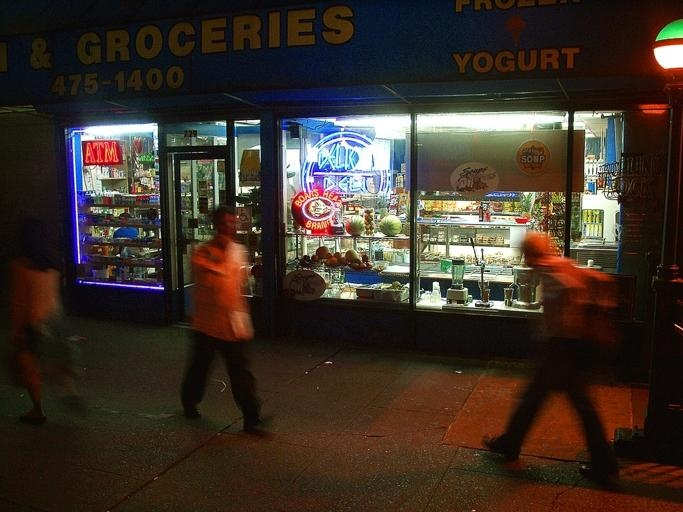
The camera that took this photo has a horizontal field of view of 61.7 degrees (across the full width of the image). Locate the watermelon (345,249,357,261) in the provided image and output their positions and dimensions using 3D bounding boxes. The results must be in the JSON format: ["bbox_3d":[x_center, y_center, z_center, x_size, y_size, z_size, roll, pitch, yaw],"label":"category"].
[{"bbox_3d":[0.167,-0.013,9.199,0.167,0.190,0.161,-18,-1,-16],"label":"watermelon"}]

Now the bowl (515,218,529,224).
[{"bbox_3d":[2.784,-0.542,8.797,0.030,0.106,0.281,-5,13,-21],"label":"bowl"}]

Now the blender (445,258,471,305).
[{"bbox_3d":[1.782,0.360,8.682,0.342,0.593,0.622,2,11,12],"label":"blender"}]

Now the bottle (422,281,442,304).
[{"bbox_3d":[1.396,0.583,8.740,0.378,0.372,0.209,2,0,17],"label":"bottle"}]

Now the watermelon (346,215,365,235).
[{"bbox_3d":[0.240,-0.467,9.119,0.246,0.311,0.237,-9,14,-36],"label":"watermelon"}]

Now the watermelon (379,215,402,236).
[{"bbox_3d":[0.767,-0.463,8.898,0.328,0.309,0.217,7,14,35],"label":"watermelon"}]

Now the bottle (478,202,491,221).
[{"bbox_3d":[2.320,-0.714,9.225,0.188,0.312,0.152,-1,11,1],"label":"bottle"}]

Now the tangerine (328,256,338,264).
[{"bbox_3d":[-0.127,0.068,9.194,0.120,0.134,0.118,-1,6,4],"label":"tangerine"}]

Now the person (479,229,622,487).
[{"bbox_3d":[2.117,0.906,5.471,1.111,2.184,0.650,5,12,26],"label":"person"}]

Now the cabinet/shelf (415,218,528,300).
[{"bbox_3d":[2.097,0.003,9.353,2.297,1.570,1.176,1,1,20],"label":"cabinet/shelf"}]

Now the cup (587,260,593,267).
[{"bbox_3d":[3.866,0.110,8.874,0.113,0.105,0.100,-2,6,0],"label":"cup"}]

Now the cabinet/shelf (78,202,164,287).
[{"bbox_3d":[-3.996,-0.385,10.854,0.490,1.612,1.746,-4,0,37],"label":"cabinet/shelf"}]
